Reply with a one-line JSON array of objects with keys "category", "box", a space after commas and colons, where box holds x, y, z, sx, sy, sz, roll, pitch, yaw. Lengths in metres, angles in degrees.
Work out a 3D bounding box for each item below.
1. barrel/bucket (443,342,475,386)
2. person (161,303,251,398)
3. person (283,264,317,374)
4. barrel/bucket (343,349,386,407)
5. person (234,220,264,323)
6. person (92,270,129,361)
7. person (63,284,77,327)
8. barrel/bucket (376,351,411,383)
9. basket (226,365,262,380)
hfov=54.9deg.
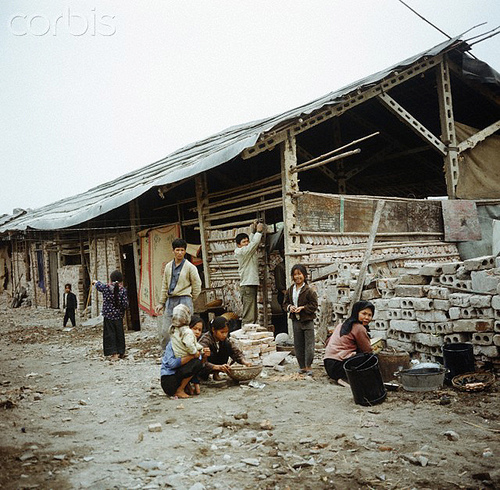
[{"category": "barrel/bucket", "box": [2.402, 1.363, 5.551, 0.441, 0.401, 0.424, 0, -4, 0]}, {"category": "person", "box": [-0.652, 1.282, 6.099, 0.546, 1.101, 0.952, -4, -2, 33]}, {"category": "person", "box": [0.712, 1.025, 6.789, 0.428, 1.497, 0.469, -3, -2, -3]}, {"category": "barrel/bucket", "box": [1.266, 1.449, 5.242, 0.373, 0.479, 0.402, -14, 8, 2]}, {"category": "person", "box": [0.015, 0.508, 9.102, 0.543, 1.970, 0.846, -3, -2, 1]}, {"category": "person", "box": [-2.548, 1.270, 8.905, 0.565, 1.589, 0.582, -2, -2, -18]}, {"category": "person", "box": [-5.384, 1.792, 14.373, 0.380, 1.271, 1.657, -2, -2, -20]}, {"category": "barrel/bucket", "box": [1.775, 1.501, 6.007, 0.494, 0.422, 0.446, -2, -3, 4]}, {"category": "basket", "box": [-0.078, 1.645, 6.233, 0.280, 0.091, 0.254, 0, -3, -17]}]
